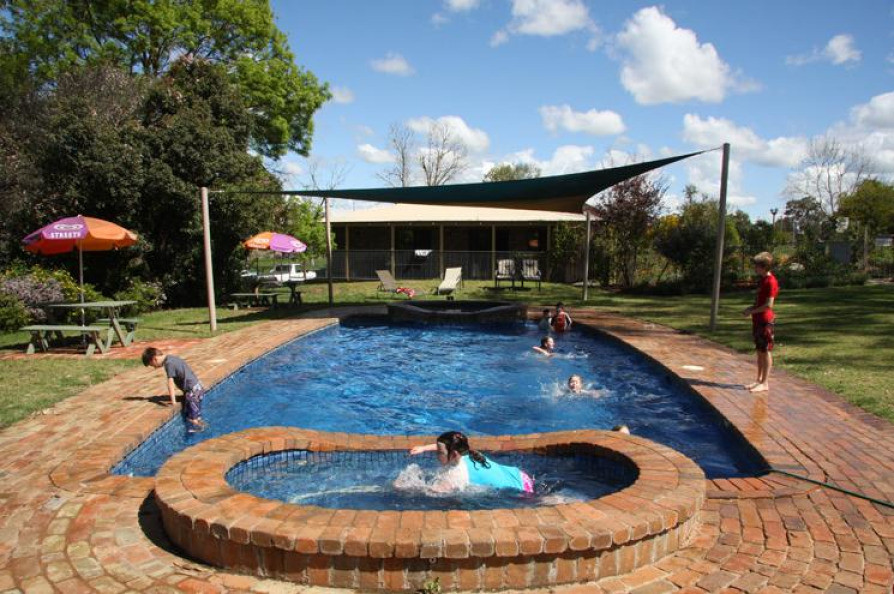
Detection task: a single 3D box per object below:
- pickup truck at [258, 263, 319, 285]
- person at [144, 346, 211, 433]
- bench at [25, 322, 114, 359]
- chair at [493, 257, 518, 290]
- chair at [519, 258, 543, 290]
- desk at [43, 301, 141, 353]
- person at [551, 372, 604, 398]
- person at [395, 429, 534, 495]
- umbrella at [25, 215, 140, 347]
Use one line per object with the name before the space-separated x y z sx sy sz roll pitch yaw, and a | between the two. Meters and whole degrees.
pickup truck | -8.855 -1.283 34.711 3.572 1.176 1.884 -6 10 -36
person | -5.104 1.760 11.888 0.925 1.549 0.588 0 4 29
bench | -9.389 0.986 15.535 1.835 0.699 2.926 -3 3 -36
chair | 2.725 -1.147 28.747 1.207 1.733 1.353 0 0 6
chair | 3.893 -1.108 28.827 1.267 1.843 1.425 1 2 3
desk | -9.155 0.551 15.724 1.502 0.731 1.268 -10 4 -32
person | 2.915 2.028 13.903 0.768 0.265 0.602 -1 1 30
person | 0.230 2.590 10.150 1.809 0.825 1.061 2 4 13
umbrella | -9.284 -0.566 16.006 2.411 2.778 2.511 -9 -4 -1
